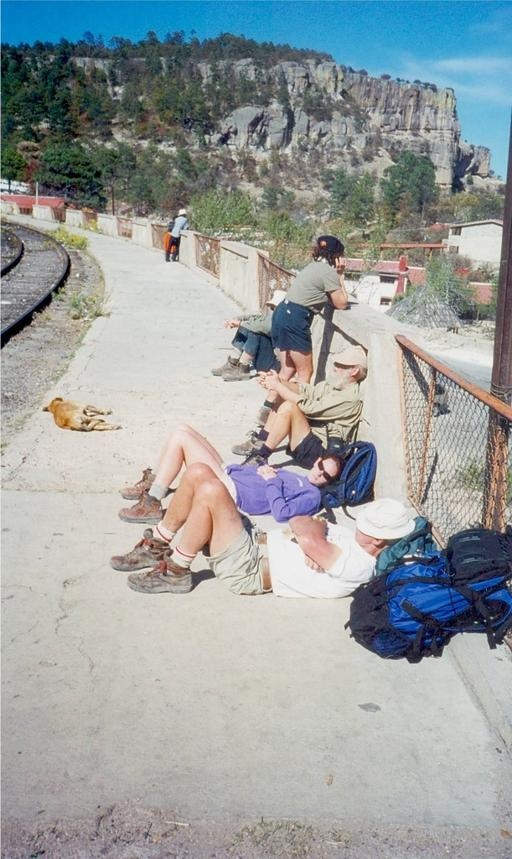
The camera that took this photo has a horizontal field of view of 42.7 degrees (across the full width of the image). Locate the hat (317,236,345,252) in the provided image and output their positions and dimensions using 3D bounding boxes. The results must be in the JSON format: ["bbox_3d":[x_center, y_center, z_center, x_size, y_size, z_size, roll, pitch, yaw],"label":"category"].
[{"bbox_3d":[0.693,-1.775,6.252,0.238,0.142,0.297,7,16,2],"label":"hat"}]

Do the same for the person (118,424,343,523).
[{"bbox_3d":[-0.165,0.353,4.620,1.559,0.569,0.844,5,6,-6],"label":"person"}]

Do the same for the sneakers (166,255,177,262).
[{"bbox_3d":[-3.140,-6.264,24.115,0.275,0.220,0.411,-1,13,-7],"label":"sneakers"}]

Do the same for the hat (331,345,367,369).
[{"bbox_3d":[0.773,-0.609,5.492,0.236,0.116,0.179,10,16,27],"label":"hat"}]

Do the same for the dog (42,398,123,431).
[{"bbox_3d":[-1.746,-0.125,6.575,0.487,0.313,1.123,3,10,-25],"label":"dog"}]

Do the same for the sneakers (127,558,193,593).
[{"bbox_3d":[-0.571,0.815,3.790,0.396,0.238,0.159,4,4,-1],"label":"sneakers"}]

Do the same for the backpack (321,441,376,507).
[{"bbox_3d":[0.739,0.303,5.021,0.548,0.256,0.458,-11,32,13],"label":"backpack"}]

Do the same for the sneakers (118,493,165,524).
[{"bbox_3d":[-0.797,0.546,4.654,0.345,0.241,0.156,7,4,7],"label":"sneakers"}]

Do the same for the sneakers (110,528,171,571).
[{"bbox_3d":[-0.649,0.707,3.938,0.440,0.296,0.172,0,7,10],"label":"sneakers"}]

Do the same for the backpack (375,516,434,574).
[{"bbox_3d":[0.820,0.623,3.534,0.305,0.135,0.240,-18,20,48],"label":"backpack"}]

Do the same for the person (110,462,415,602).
[{"bbox_3d":[0.033,0.621,3.754,1.597,0.625,0.535,7,4,0],"label":"person"}]

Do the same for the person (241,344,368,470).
[{"bbox_3d":[0.382,-0.186,5.492,0.948,1.075,0.543,8,15,-11],"label":"person"}]
